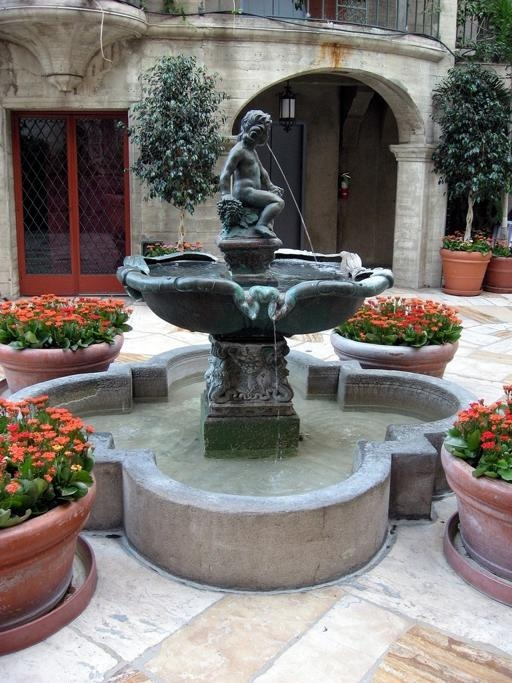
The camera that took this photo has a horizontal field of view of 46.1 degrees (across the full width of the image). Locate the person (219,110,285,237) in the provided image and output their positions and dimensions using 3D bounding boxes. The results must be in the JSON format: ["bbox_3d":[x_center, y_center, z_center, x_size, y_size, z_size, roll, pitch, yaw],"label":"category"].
[{"bbox_3d":[-0.029,-1.083,3.934,0.409,0.798,0.352,2,13,-1],"label":"person"}]

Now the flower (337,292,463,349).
[{"bbox_3d":[1.234,-0.086,4.826,0.831,0.245,0.742,4,-3,-31],"label":"flower"}]

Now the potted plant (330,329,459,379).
[{"bbox_3d":[1.050,0.092,4.617,0.502,0.318,0.484,2,11,0],"label":"potted plant"}]
